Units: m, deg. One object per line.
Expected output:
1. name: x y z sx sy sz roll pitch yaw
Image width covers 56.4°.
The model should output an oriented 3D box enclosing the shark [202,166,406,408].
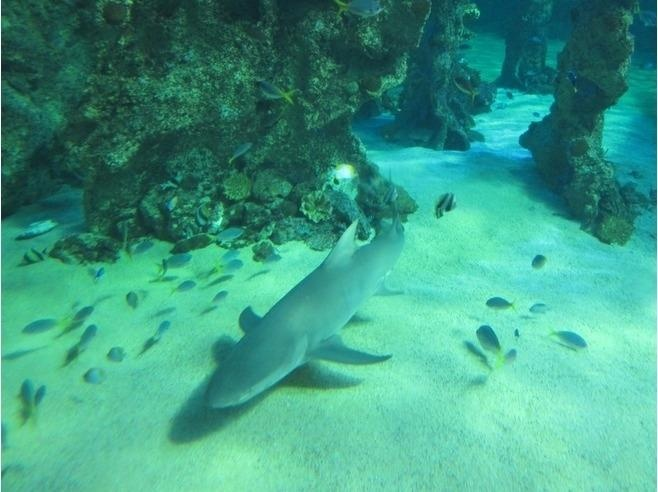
1. shark: -0.295 0.836 8.177 1.604 1.265 3.085 21 46 29

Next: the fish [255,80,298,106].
1. fish: -0.890 -2.514 10.005 0.145 0.354 0.804 38 26 22

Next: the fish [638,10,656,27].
1. fish: 9.645 -6.955 18.718 0.481 0.343 1.372 10 33 22

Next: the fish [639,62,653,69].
1. fish: 9.058 -5.145 17.502 0.368 0.117 0.488 12 33 24

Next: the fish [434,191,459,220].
1. fish: 1.860 -0.664 9.880 0.299 0.391 0.289 0 28 4

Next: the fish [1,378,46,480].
1. fish: -4.117 2.356 8.238 0.480 1.374 0.356 9 -8 -44

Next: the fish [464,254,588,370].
1. fish: 2.750 1.144 8.862 1.726 0.426 1.033 -8 30 -9
